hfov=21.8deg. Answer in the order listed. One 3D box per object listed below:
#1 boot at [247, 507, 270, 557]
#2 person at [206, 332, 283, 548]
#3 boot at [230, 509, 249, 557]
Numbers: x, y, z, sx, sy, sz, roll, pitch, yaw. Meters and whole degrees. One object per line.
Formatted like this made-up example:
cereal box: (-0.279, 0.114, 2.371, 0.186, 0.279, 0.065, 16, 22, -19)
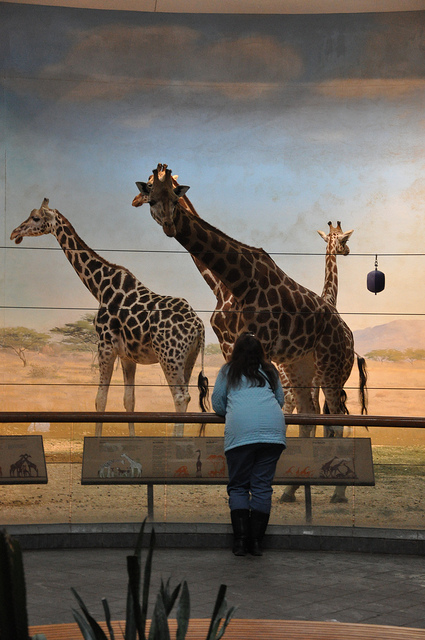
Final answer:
boot: (0.295, 1.245, 7.026, 0.137, 0.290, 0.093, 0, -3, 7)
person: (0.227, 0.693, 7.085, 0.458, 1.290, 0.319, 0, -3, 3)
boot: (0.178, 1.249, 7.019, 0.114, 0.282, 0.076, 0, -3, 6)
